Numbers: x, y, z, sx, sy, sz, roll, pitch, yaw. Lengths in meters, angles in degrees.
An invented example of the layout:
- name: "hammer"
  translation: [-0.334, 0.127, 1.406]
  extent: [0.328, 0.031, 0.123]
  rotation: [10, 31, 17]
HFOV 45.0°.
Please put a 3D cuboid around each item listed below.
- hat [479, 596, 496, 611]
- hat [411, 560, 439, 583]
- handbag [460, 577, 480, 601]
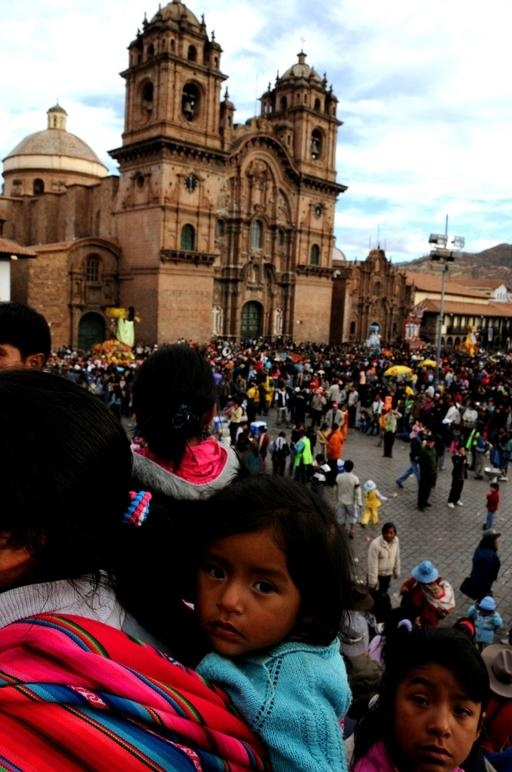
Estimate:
- name: "hat"
  translation: [2.539, 2.366, 6.798]
  extent: [0.179, 0.139, 0.254]
  rotation: [8, 3, 15]
- name: "hat"
  translation: [1.873, 2.062, 6.850]
  extent: [0.261, 0.162, 0.417]
  rotation: [6, 4, 10]
- name: "handbag"
  translation: [2.762, 2.617, 7.987]
  extent: [0.134, 0.367, 0.283]
  rotation: [8, -2, 10]
